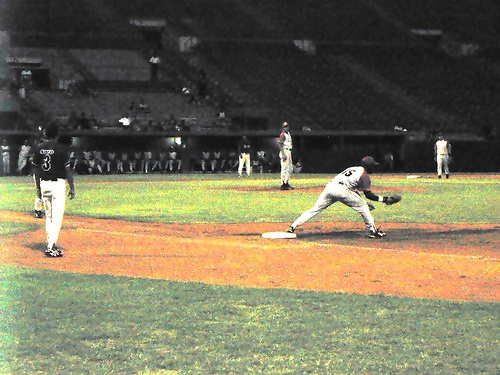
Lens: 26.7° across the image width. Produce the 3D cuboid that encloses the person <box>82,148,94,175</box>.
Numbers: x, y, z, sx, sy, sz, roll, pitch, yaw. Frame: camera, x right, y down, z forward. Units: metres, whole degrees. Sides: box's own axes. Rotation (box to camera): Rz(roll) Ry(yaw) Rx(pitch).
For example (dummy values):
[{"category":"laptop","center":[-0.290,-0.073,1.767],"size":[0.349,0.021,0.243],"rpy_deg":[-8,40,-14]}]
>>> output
[{"category":"person","center":[-8.467,-1.309,55.495],"size":[0.220,0.825,0.729],"rpy_deg":[1,-2,38]}]

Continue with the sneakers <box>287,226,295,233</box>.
[{"category":"sneakers","center":[1.337,1.360,33.974],"size":[0.244,0.166,0.231],"rpy_deg":[-2,3,3]}]

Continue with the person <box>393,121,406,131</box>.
[{"category":"person","center":[8.873,-3.558,62.510],"size":[0.926,0.287,0.626],"rpy_deg":[9,3,-40]}]

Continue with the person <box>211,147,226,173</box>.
[{"category":"person","center":[-1.730,-1.462,57.890],"size":[0.834,1.175,0.258],"rpy_deg":[2,-1,-3]}]

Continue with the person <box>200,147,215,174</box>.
[{"category":"person","center":[-2.334,-1.431,57.929],"size":[1.133,1.021,0.283],"rpy_deg":[2,11,11]}]

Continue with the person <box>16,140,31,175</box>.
[{"category":"person","center":[-11.522,-1.581,53.763],"size":[0.636,1.282,1.723],"rpy_deg":[3,-1,-13]}]

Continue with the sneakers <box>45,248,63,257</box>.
[{"category":"sneakers","center":[-5.966,2.003,32.159],"size":[0.475,0.198,0.257],"rpy_deg":[2,18,6]}]

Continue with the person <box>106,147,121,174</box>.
[{"category":"person","center":[-7.290,-1.378,56.369],"size":[0.842,1.081,0.345],"rpy_deg":[-8,7,-25]}]

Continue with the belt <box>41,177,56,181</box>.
[{"category":"belt","center":[-6.032,-0.254,31.734],"size":[0.455,0.077,0.093],"rpy_deg":[2,-1,12]}]

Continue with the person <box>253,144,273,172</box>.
[{"category":"person","center":[0.801,-1.558,58.008],"size":[1.093,1.442,0.498],"rpy_deg":[2,-1,-4]}]

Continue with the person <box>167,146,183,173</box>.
[{"category":"person","center":[-4.060,-1.547,57.325],"size":[0.845,1.321,0.405],"rpy_deg":[5,-4,-33]}]

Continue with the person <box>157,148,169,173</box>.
[{"category":"person","center":[-4.706,-1.447,57.267],"size":[0.544,0.783,0.163],"rpy_deg":[3,-1,-22]}]

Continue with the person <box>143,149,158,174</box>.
[{"category":"person","center":[-5.457,-1.374,56.858],"size":[0.666,1.044,0.266],"rpy_deg":[0,4,-30]}]

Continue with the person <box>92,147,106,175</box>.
[{"category":"person","center":[-7.960,-1.345,55.892],"size":[0.366,0.864,0.948],"rpy_deg":[2,-1,27]}]
